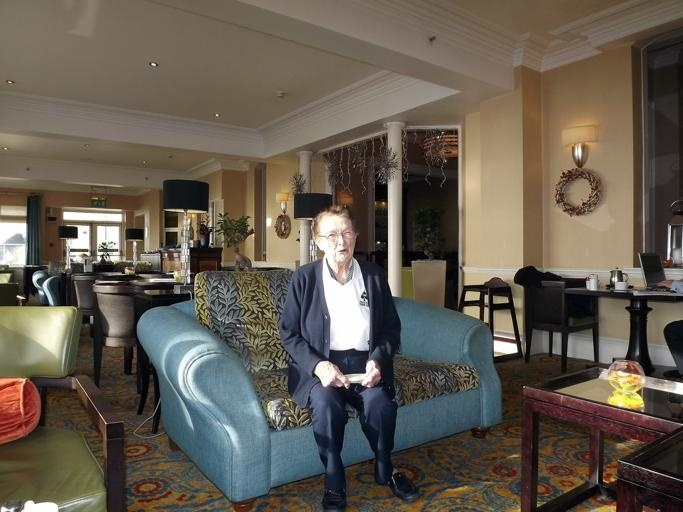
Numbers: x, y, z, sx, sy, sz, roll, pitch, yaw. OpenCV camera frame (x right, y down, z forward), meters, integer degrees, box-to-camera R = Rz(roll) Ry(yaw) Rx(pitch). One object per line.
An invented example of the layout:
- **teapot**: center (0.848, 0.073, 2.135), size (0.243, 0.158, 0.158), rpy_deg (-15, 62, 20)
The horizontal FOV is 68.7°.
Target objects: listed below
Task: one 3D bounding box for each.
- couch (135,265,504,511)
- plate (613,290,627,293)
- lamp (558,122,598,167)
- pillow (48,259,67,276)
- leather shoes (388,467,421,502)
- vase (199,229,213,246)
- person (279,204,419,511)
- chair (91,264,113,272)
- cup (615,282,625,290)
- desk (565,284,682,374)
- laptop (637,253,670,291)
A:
- **couch**: center (-0.308, 0.319, 3.096), size (1.797, 0.980, 1.249), rpy_deg (-1, -4, -34)
- **plate**: center (2.357, 0.292, 4.222), size (0.104, 0.020, 0.127), rpy_deg (-2, 1, 28)
- **lamp**: center (2.538, -1.188, 5.326), size (0.343, 0.477, 0.241), rpy_deg (-1, 2, 29)
- **pillow**: center (-5.402, 0.214, 9.479), size (0.166, 0.230, 0.219), rpy_deg (-7, -6, 28)
- **leather shoes**: center (0.322, 1.204, 2.645), size (0.099, 0.077, 0.200), rpy_deg (-3, 4, -32)
- **vase**: center (-1.913, -0.267, 6.999), size (0.203, 0.252, 0.229), rpy_deg (1, -9, -6)
- **person**: center (0.017, 0.502, 2.695), size (0.690, 1.551, 0.472), rpy_deg (-2, 1, -8)
- **chair**: center (-4.191, 0.203, 8.763), size (0.251, 0.241, 0.178), rpy_deg (0, 0, -39)
- **cup**: center (2.379, 0.256, 4.268), size (0.059, 0.043, 0.058), rpy_deg (0, -5, 0)
- **desk**: center (2.515, 0.566, 4.305), size (0.825, 0.594, 0.762), rpy_deg (2, -3, -35)
- **laptop**: center (2.787, 0.136, 4.481), size (0.329, 0.238, 0.276), rpy_deg (1, 1, -35)
